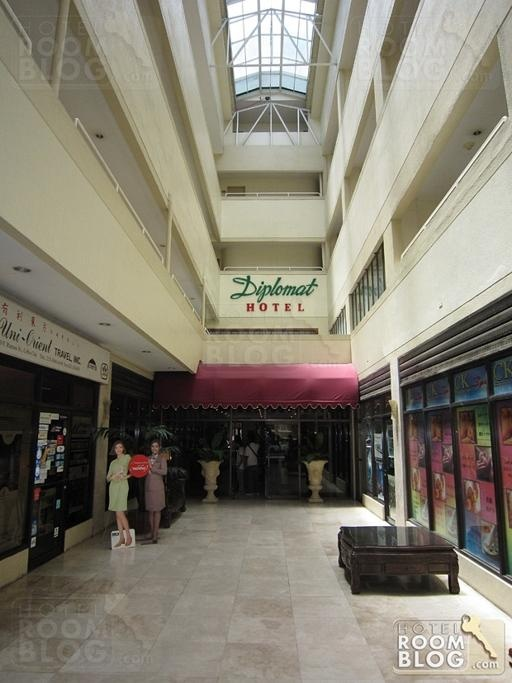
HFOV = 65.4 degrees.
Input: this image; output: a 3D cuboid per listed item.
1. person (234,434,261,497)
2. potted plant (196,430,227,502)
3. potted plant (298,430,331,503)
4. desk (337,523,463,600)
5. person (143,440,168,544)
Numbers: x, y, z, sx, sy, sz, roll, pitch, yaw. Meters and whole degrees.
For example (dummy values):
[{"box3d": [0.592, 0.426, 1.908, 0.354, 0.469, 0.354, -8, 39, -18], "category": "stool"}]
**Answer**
[{"box3d": [-0.288, 4.274, 13.853, 0.787, 2.033, 0.378, 0, -11, -5], "category": "person"}, {"box3d": [-1.601, 4.369, 13.828, 0.789, 2.224, 0.809, 2, 0, -36], "category": "potted plant"}, {"box3d": [1.987, 4.141, 13.476, 0.931, 2.317, 0.468, -3, -11, 11], "category": "potted plant"}, {"box3d": [1.819, 2.895, 5.280, 1.269, 0.648, 1.194, -2, -13, 3], "category": "desk"}, {"box3d": [-2.129, 3.124, 8.466, 0.440, 1.964, 1.139, 2, -12, -13], "category": "person"}]
